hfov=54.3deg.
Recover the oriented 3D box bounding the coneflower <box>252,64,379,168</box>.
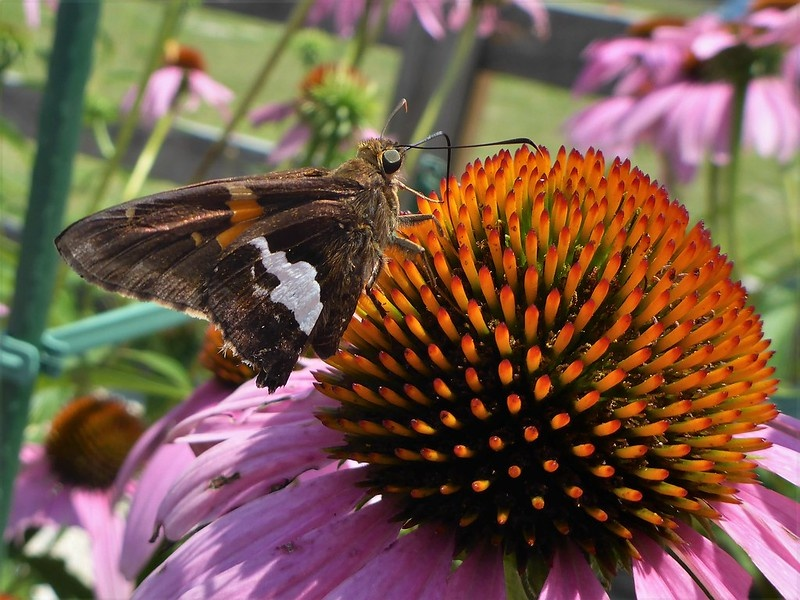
[{"bbox_3d":[-0.234,-0.606,2.363,0.315,0.130,0.312,-27,44,-14],"label":"coneflower"}]
